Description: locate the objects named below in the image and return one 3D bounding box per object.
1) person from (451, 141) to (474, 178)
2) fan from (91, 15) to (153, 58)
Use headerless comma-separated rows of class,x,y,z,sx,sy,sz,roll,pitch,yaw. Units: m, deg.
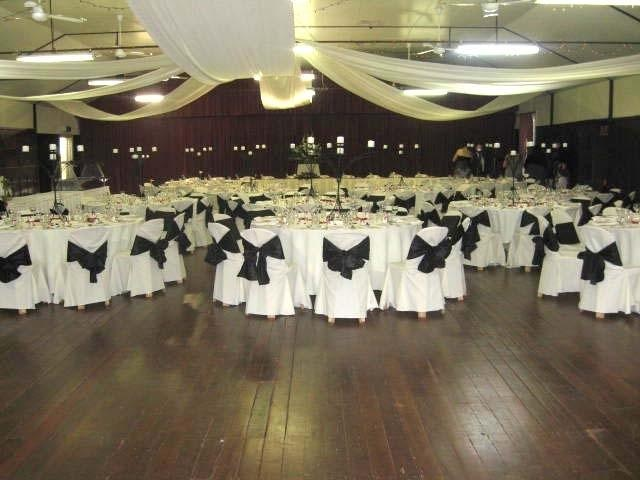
person,4.965,-2.754,16.407,0.583,0.608,1.776,-5,-34,10
fan,-5.417,-5.430,12.813,1.300,1.005,1.312,-9,-4,-41
